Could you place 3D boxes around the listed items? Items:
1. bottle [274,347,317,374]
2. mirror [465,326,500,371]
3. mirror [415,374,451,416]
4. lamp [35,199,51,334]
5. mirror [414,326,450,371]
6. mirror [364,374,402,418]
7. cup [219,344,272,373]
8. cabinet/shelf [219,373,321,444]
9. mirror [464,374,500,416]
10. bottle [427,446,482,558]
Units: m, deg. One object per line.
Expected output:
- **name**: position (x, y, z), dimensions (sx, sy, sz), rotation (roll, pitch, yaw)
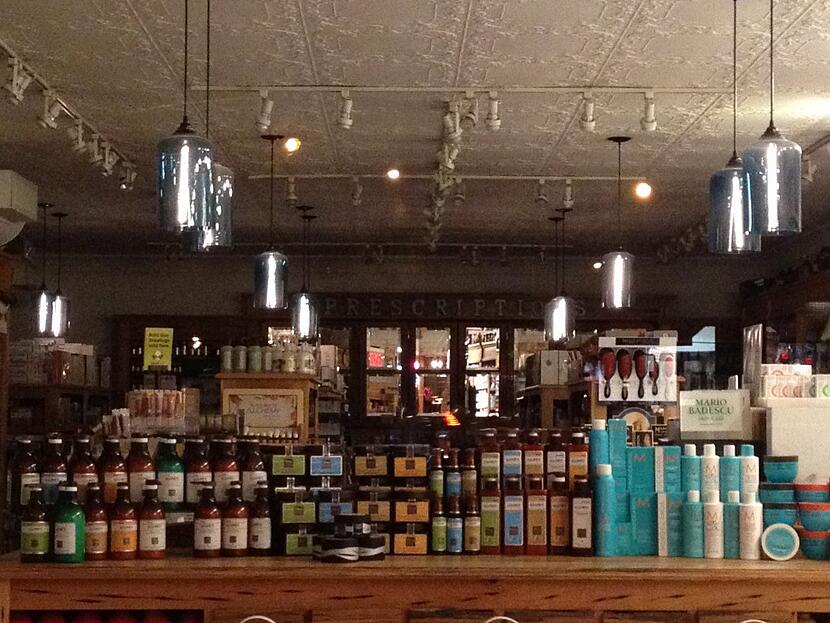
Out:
- **bottle**: position (-0.968, 0.379, 10.639), dimensions (0.246, 0.139, 0.234), rotation (1, -8, 0)
- **mirror**: position (0.745, 0.392, 14.417), dimensions (0.458, 0.566, 0.379), rotation (0, -6, 7)
- **mirror**: position (0.218, 0.902, 14.557), dimensions (0.442, 0.477, 0.436), rotation (2, -4, -12)
- **lamp**: position (-3.458, -0.395, 12.424), dimensions (0.176, 1.198, 0.167), rotation (4, 4, 26)
- **mirror**: position (0.191, 0.436, 14.455), dimensions (0.509, 0.553, 0.056), rotation (1, 1, 27)
- **mirror**: position (-0.330, 0.901, 14.349), dimensions (0.523, 0.552, 0.056), rotation (0, -2, 31)
- **cup**: position (-1.329, 0.362, 10.648), dimensions (0.366, 0.161, 0.208), rotation (1, 0, -2)
- **cabinet/shelf**: position (-1.207, 0.721, 10.734), dimensions (0.721, 0.617, 0.449), rotation (0, 22, -9)
- **mirror**: position (0.743, 0.903, 14.356), dimensions (0.484, 0.584, 0.063), rotation (0, -2, 4)
- **bottle**: position (0.212, 0.976, 6.940), dimensions (0.272, 0.516, 0.207), rotation (-1, 1, -1)
